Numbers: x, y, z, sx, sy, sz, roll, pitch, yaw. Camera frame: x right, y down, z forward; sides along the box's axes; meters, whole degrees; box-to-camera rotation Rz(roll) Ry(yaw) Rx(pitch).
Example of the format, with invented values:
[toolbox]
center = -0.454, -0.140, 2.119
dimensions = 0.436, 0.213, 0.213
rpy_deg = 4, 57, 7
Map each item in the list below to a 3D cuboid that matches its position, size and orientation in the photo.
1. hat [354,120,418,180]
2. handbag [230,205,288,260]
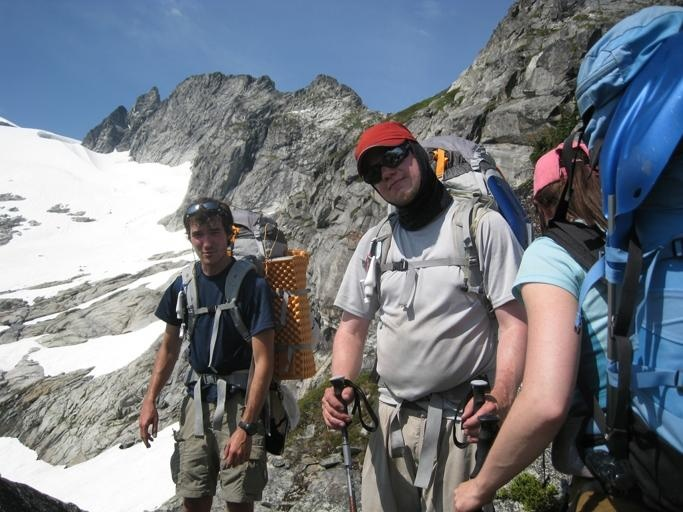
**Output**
[hat]
center = 0.325, -0.945, 4.289
dimensions = 0.348, 0.507, 0.491
rpy_deg = -28, -58, 25
[handbag]
center = -1.079, -0.299, 6.743
dimensions = 0.692, 0.846, 0.595
rpy_deg = -4, -11, -2
